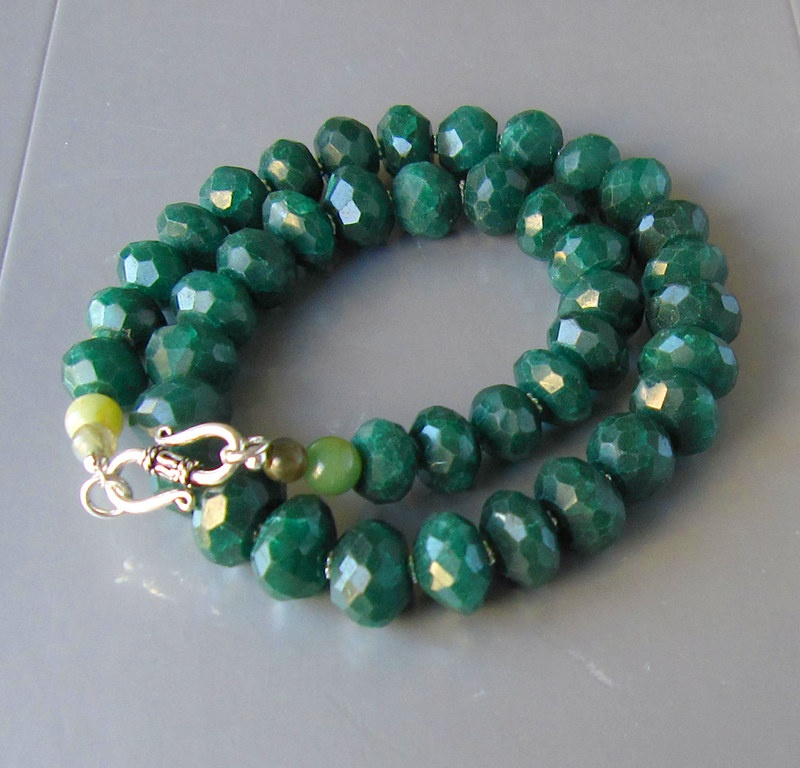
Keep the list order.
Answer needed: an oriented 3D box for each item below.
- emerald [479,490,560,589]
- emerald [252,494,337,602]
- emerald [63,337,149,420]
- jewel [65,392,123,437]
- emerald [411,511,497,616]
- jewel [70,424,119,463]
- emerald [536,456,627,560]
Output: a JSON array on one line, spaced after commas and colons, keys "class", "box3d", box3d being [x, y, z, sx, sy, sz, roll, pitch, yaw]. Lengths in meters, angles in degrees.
[{"class": "emerald", "box3d": [0.161, 0.201, 1.449, 0.088, 0.069, 0.125, -38, 62, 26]}, {"class": "emerald", "box3d": [-0.138, 0.214, 1.458, 0.117, 0.074, 0.122, -1, 96, -28]}, {"class": "emerald", "box3d": [-0.419, -0.020, 1.504, 0.093, 0.068, 0.106, 1, 64, -6]}, {"class": "jewel", "box3d": [-0.418, 0.038, 1.467, 0.056, 0.066, 0.046, -1, 93, -5]}, {"class": "emerald", "box3d": [0.068, 0.234, 1.423, 0.109, 0.092, 0.149, -7, 58, -11]}, {"class": "jewel", "box3d": [-0.413, 0.081, 1.447, 0.055, 0.039, 0.054, -24, 65, -7]}, {"class": "emerald", "box3d": [0.237, 0.162, 1.472, 0.119, 0.062, 0.107, 42, 71, 6]}]
